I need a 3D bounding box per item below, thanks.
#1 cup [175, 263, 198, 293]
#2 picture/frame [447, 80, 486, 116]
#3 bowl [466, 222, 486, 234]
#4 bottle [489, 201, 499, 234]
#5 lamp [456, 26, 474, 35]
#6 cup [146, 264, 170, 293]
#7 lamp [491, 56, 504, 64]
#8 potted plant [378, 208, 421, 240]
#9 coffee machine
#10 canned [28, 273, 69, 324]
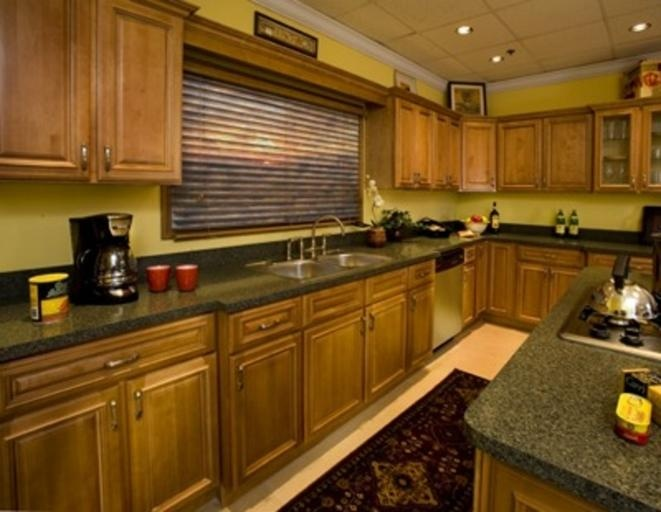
[{"bbox_3d":[-0.743,0.120,2.664,0.142,0.113,0.111,-4,8,-34],"label":"cup"},{"bbox_3d":[1.425,-1.623,5.202,0.479,0.347,0.196,-7,10,-23],"label":"picture/frame"},{"bbox_3d":[1.467,-0.285,5.077,0.135,0.080,0.138,0,5,0],"label":"bowl"},{"bbox_3d":[1.721,-0.410,5.349,0.117,0.316,0.188,0,9,20],"label":"bottle"},{"bbox_3d":[1.036,-1.746,3.916,0.117,0.028,0.166,-1,9,14],"label":"lamp"},{"bbox_3d":[-0.882,0.116,2.579,0.109,0.113,0.134,2,-3,-35],"label":"cup"},{"bbox_3d":[1.486,-1.760,4.526,0.101,0.027,0.203,0,10,19],"label":"lamp"},{"bbox_3d":[0.582,-0.273,4.425,0.301,0.265,0.298,2,2,-7],"label":"potted plant"},{"bbox_3d":[-1.077,0.023,2.408,0.439,0.450,0.291,-3,0,32],"label":"coffee machine"},{"bbox_3d":[-1.254,0.185,2.247,0.164,0.187,0.132,-9,11,-32],"label":"canned"}]
